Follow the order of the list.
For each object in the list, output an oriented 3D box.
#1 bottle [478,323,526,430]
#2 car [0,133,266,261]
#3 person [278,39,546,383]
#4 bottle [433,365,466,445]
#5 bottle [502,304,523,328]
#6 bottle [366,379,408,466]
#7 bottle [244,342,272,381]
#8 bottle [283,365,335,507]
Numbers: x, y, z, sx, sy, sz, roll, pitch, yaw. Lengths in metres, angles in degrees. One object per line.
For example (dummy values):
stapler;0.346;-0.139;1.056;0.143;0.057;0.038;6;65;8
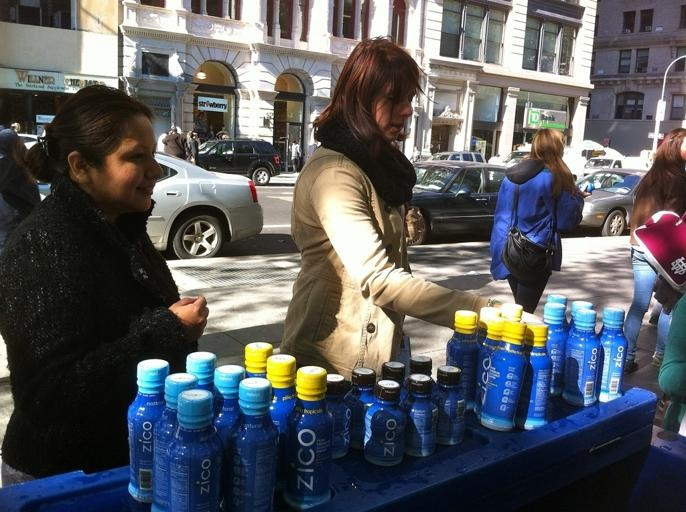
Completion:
bottle;0.624;0.450;2.013;0.162;0.442;0.089;4;13;12
car;-3.534;-0.698;9.127;4.869;1.802;2.157;2;0;-22
person;0.111;-0.195;2.198;0.589;1.437;0.855;-7;15;-32
bottle;0.411;0.557;1.977;0.125;0.287;0.140;2;13;4
bottle;0.650;0.228;1.996;0.070;0.064;0.071;1;4;31
bottle;0.148;0.581;1.822;0.140;0.276;0.089;2;13;2
bottle;-0.281;0.345;1.730;0.107;0.159;0.105;2;1;0
bottle;-0.101;0.554;1.580;0.136;0.403;0.117;0;13;-6
